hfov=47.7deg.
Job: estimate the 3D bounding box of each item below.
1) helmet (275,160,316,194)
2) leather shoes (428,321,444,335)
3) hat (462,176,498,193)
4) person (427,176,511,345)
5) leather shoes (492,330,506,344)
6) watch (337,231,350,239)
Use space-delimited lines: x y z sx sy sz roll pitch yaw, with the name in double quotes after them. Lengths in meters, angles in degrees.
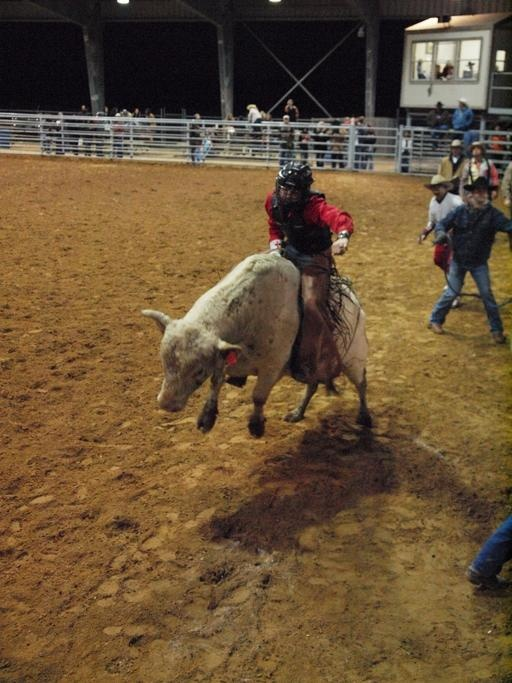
0.230 -1.034 3.650 0.203 0.196 0.241 25 22 20 "helmet"
2.029 -0.137 6.517 0.083 0.091 0.230 -6 9 -2 "leather shoes"
2.288 -1.574 5.876 0.290 0.172 0.454 8 18 21 "hat"
2.342 -0.851 6.201 0.840 1.682 0.866 6 19 15 "person"
2.640 -0.042 6.284 0.076 0.076 0.190 -5 19 8 "leather shoes"
0.503 -0.614 3.340 0.050 0.035 0.050 10 35 29 "watch"
